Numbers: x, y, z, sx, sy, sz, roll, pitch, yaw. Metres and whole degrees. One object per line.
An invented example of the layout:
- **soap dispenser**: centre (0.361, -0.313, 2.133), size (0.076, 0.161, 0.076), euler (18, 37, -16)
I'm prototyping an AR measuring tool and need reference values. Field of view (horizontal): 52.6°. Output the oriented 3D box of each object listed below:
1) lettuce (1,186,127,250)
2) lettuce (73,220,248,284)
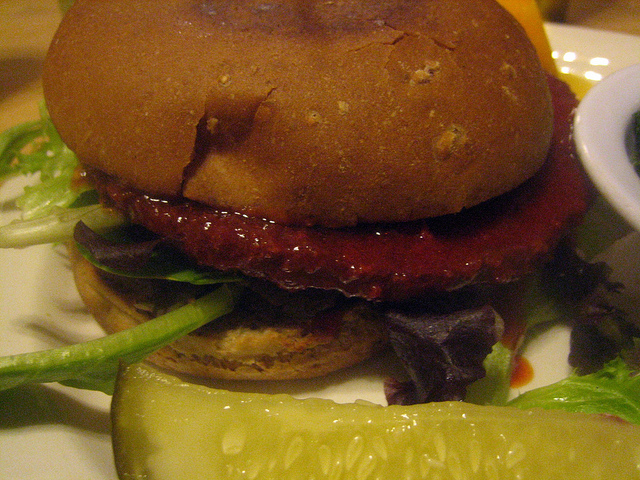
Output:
- **lettuce**: centre (-0.750, -0.047, 1.928), size (0.479, 0.099, 0.187), euler (-4, 29, 32)
- **lettuce**: centre (-0.413, 0.028, 1.725), size (0.346, 0.220, 0.054), euler (21, 75, -20)
